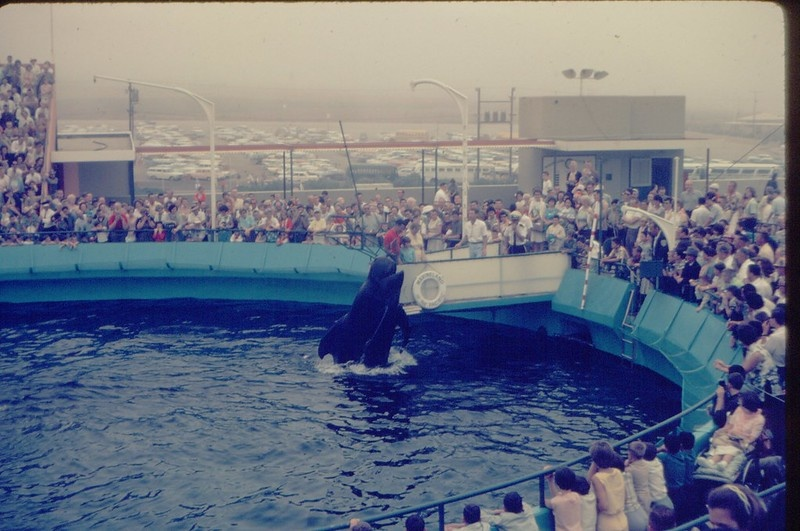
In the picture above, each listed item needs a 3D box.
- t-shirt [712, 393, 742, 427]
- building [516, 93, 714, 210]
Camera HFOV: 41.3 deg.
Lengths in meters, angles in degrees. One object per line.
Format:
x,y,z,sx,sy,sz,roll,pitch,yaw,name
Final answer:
7.471,3.333,24.447,0.252,0.753,0.558,14,-5,-31,t-shirt
7.877,-2.963,41.066,6.390,4.560,4.487,-3,12,-13,building
